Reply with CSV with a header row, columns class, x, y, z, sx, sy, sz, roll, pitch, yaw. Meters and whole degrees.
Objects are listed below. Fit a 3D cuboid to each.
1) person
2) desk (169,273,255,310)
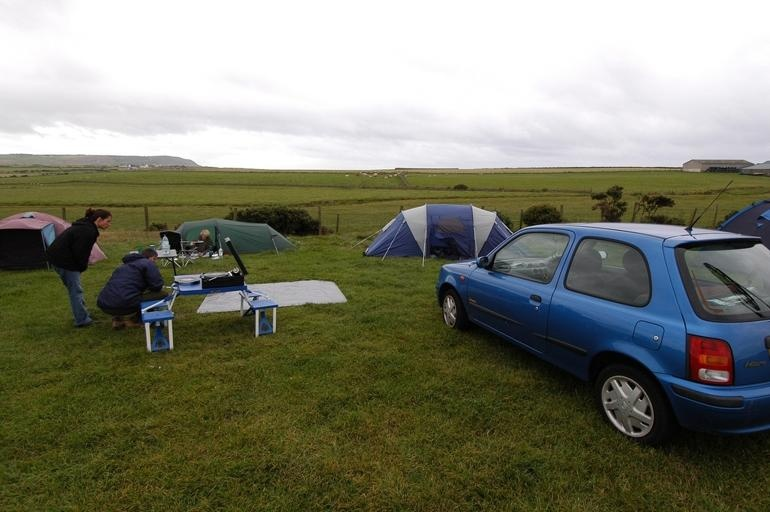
class,x,y,z,sx,sy,sz,roll,pitch,yaw
person,-6.325,0.209,9.549,1.093,2.392,0.638,-11,18,-33
desk,-3.164,0.873,9.412,1.463,0.607,1.354,3,-18,-7
